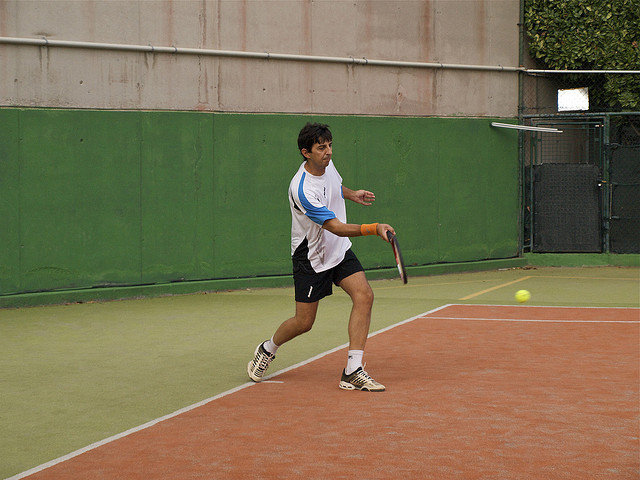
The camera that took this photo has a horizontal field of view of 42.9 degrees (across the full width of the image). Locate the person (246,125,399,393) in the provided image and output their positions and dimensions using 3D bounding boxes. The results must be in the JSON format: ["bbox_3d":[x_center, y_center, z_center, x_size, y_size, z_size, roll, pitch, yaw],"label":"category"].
[{"bbox_3d":[0.093,0.181,7.948,1.421,2.595,0.545,1,5,31],"label":"person"}]

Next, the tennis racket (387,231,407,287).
[{"bbox_3d":[0.718,0.162,7.539,0.039,0.498,0.137,-6,-20,-17],"label":"tennis racket"}]

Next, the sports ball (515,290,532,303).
[{"bbox_3d":[2.963,0.833,11.887,0.110,0.126,0.122,-11,-31,-9],"label":"sports ball"}]

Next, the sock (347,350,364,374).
[{"bbox_3d":[0.336,1.179,7.935,0.146,0.229,0.153,-1,4,5],"label":"sock"}]
